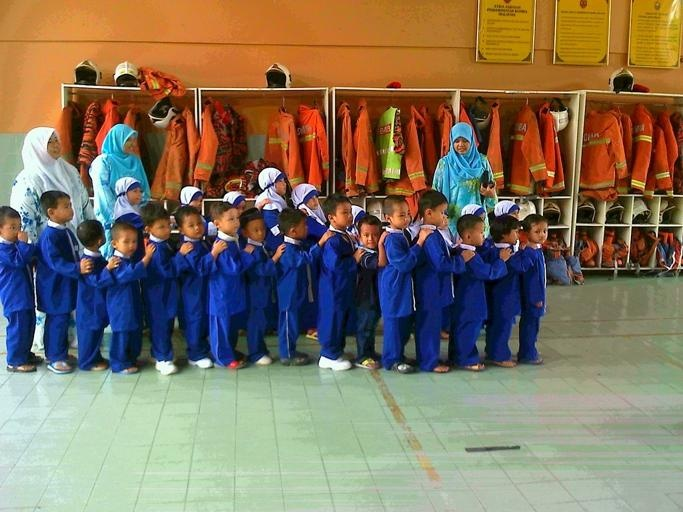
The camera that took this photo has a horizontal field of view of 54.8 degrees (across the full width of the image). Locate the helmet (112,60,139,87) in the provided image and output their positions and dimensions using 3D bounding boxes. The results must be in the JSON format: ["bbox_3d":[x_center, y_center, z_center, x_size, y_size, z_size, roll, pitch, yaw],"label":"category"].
[{"bbox_3d":[-2.111,-1.787,6.500,0.219,0.257,0.296,-2,5,-12],"label":"helmet"}]

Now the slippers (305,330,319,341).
[{"bbox_3d":[-0.226,0.619,5.030,0.061,0.062,0.138,2,-5,-45],"label":"slippers"}]

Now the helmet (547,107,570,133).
[{"bbox_3d":[2.338,-1.473,7.033,0.203,0.202,0.219,-9,14,-44],"label":"helmet"}]

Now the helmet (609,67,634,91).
[{"bbox_3d":[2.980,-1.901,7.132,0.251,0.267,0.270,-8,15,-35],"label":"helmet"}]

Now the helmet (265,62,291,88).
[{"bbox_3d":[-0.650,-1.807,6.638,0.213,0.235,0.288,1,-38,12],"label":"helmet"}]

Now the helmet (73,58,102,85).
[{"bbox_3d":[-2.508,-1.787,6.486,0.237,0.275,0.341,-3,5,-20],"label":"helmet"}]

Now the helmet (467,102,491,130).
[{"bbox_3d":[1.477,-1.507,7.113,0.237,0.326,0.331,-1,-2,0],"label":"helmet"}]
